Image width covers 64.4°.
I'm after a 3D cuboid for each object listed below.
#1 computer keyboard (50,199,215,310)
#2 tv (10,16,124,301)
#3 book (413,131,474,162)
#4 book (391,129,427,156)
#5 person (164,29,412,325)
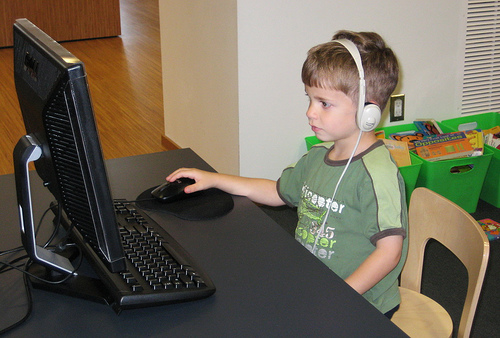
[{"bbox_3d":[-0.328,0.230,1.128,0.264,0.084,0.618,-1,11,-33],"label":"computer keyboard"},{"bbox_3d":[-0.469,-0.032,0.935,0.179,0.664,0.406,-13,16,-33],"label":"tv"},{"bbox_3d":[1.231,-0.137,2.532,0.289,0.069,0.204,-7,40,2],"label":"book"},{"bbox_3d":[1.069,-0.154,2.739,0.249,0.059,0.251,-2,54,16],"label":"book"},{"bbox_3d":[0.216,-0.060,1.327,0.591,0.772,0.429,4,15,31],"label":"person"}]
